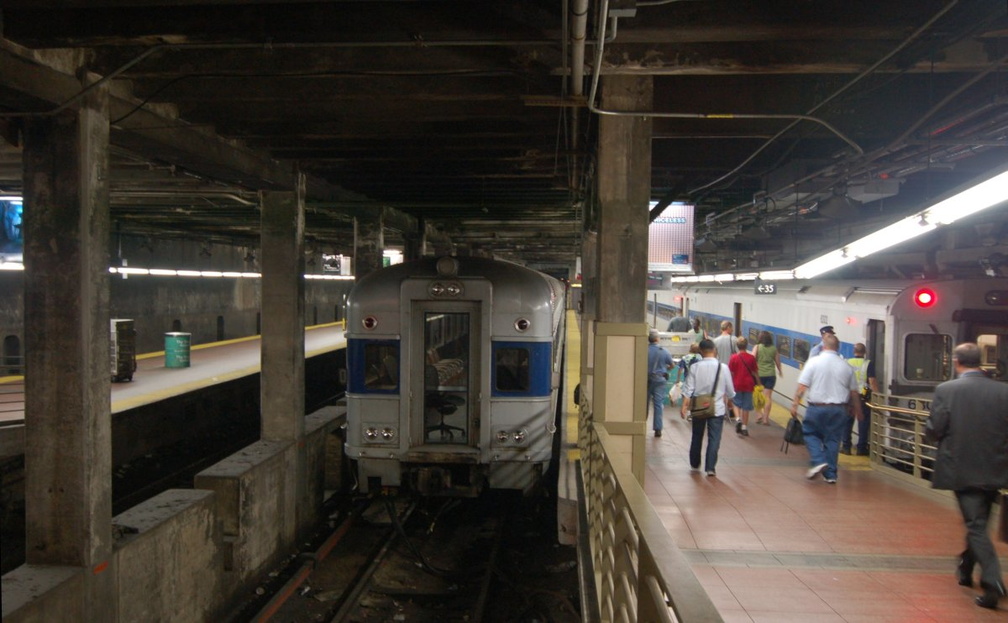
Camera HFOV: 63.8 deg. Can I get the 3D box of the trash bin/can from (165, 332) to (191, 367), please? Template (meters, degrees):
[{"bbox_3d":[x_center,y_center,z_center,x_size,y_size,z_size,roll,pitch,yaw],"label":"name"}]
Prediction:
[{"bbox_3d":[-10.372,1.183,25.292,1.107,1.119,1.075,1,0,-5],"label":"trash bin/can"}]

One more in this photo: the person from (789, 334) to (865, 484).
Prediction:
[{"bbox_3d":[5.307,1.699,13.479,1.021,2.625,0.758,-14,18,-41],"label":"person"}]

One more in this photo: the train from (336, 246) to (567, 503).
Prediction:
[{"bbox_3d":[-0.968,1.073,14.064,3.551,4.007,1.568,-3,14,-5],"label":"train"}]

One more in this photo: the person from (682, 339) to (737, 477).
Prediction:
[{"bbox_3d":[3.523,1.687,14.133,0.815,2.429,0.634,3,14,17],"label":"person"}]

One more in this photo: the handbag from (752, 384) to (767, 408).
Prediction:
[{"bbox_3d":[5.375,1.779,17.129,0.262,0.471,0.492,-13,12,16],"label":"handbag"}]

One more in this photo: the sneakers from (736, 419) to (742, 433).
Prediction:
[{"bbox_3d":[4.918,2.407,16.980,0.095,0.271,0.113,1,37,8],"label":"sneakers"}]
